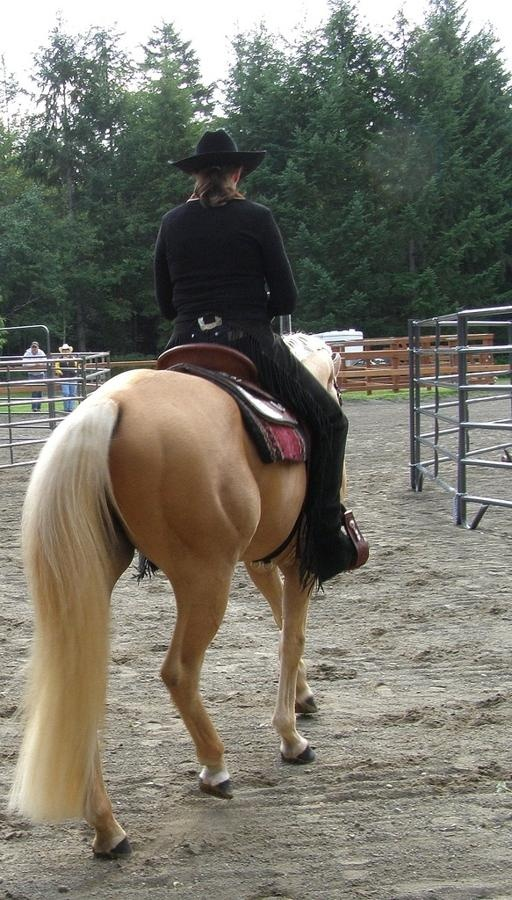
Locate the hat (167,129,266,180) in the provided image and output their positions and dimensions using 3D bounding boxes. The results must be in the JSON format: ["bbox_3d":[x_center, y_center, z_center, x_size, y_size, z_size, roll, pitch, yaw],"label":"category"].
[{"bbox_3d":[-0.117,-0.948,2.654,0.278,0.167,0.303,0,7,7],"label":"hat"}]

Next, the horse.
[{"bbox_3d":[-0.103,0.370,2.899,0.598,1.460,2.144,-3,1,23],"label":"horse"}]
